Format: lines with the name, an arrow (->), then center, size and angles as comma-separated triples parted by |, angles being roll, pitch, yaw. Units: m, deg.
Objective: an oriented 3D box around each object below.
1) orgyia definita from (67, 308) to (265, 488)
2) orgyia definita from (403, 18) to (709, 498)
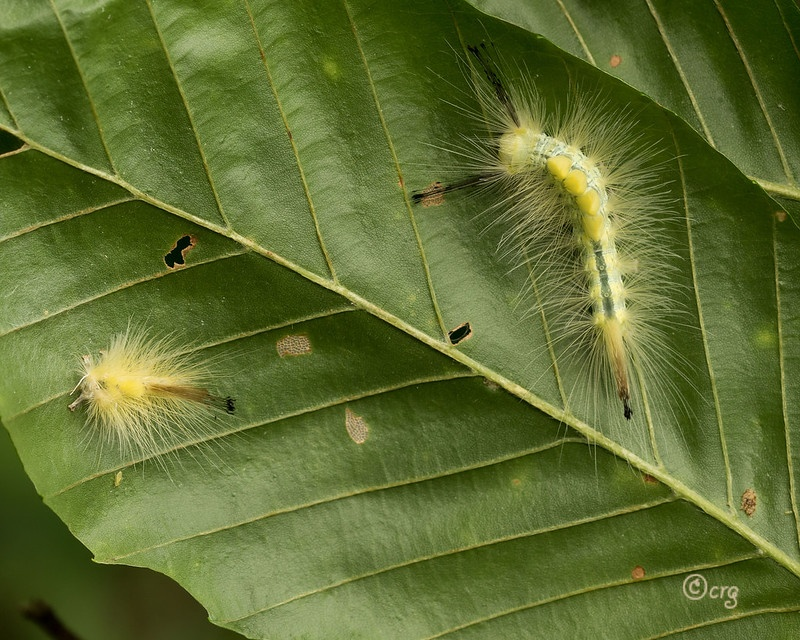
orgyia definita -> -0.995, 0.357, 3.814 | 0.689, 0.180, 0.698 | 35, -95, -4
orgyia definita -> 0.807, -0.382, 4.200 | 1.497, 2.037, 1.393 | 7, -40, 9
